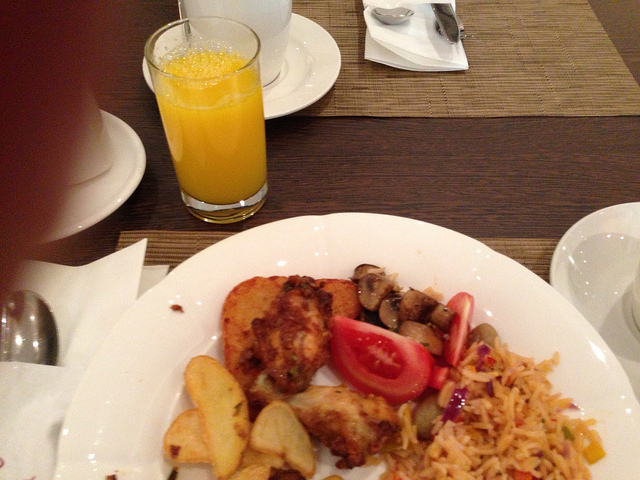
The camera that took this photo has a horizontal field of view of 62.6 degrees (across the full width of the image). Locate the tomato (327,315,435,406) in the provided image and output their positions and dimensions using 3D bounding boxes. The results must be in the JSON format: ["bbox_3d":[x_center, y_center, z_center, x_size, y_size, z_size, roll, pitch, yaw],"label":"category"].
[{"bbox_3d":[0.165,0.349,1.484,0.373,0.080,0.236,13,92,19],"label":"tomato"}]

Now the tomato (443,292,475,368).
[{"bbox_3d":[0.399,0.257,1.504,0.049,0.171,0.175,6,61,23],"label":"tomato"}]

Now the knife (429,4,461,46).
[{"bbox_3d":[0.569,-0.971,2.323,0.080,0.011,0.259,-10,55,-3],"label":"knife"}]

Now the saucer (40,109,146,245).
[{"bbox_3d":[-0.524,-0.130,1.257,0.243,0.347,0.293,-16,33,-30],"label":"saucer"}]

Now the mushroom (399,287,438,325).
[{"bbox_3d":[0.286,0.177,1.497,0.096,0.029,0.096,24,99,-11],"label":"mushroom"}]

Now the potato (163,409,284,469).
[{"bbox_3d":[-0.239,0.512,1.313,0.310,0.095,0.131,10,63,5],"label":"potato"}]

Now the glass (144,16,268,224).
[{"bbox_3d":[-0.357,-0.369,1.801,0.321,0.694,0.369,-9,33,-20],"label":"glass"}]
